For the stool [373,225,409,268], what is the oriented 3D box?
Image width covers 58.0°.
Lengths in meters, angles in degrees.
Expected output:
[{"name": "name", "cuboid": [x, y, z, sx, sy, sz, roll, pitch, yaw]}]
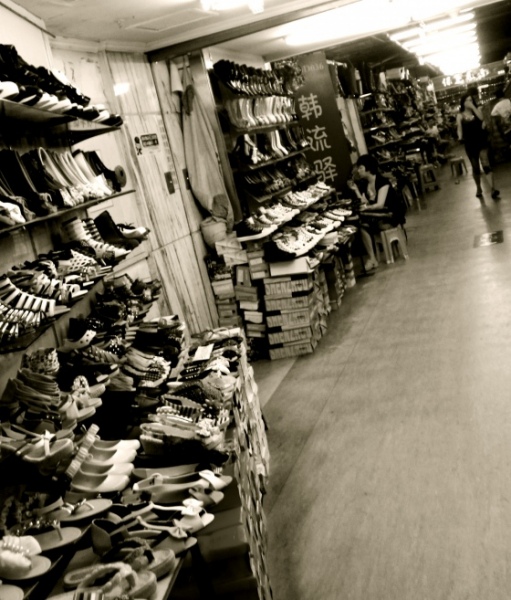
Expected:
[{"name": "stool", "cuboid": [2.373, -1.025, 8.065, 0.564, 0.645, 0.658, -6, 18, 27]}]
